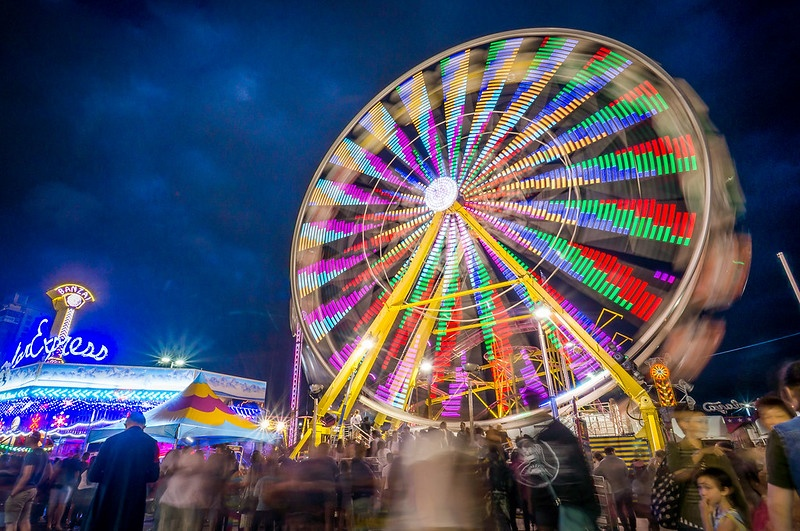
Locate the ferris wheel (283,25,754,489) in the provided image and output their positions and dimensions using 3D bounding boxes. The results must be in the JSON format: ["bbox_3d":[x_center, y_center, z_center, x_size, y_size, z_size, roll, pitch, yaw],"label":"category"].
[{"bbox_3d":[4.859,-0.151,21.721,18.940,18.692,6.973,0,-11,32],"label":"ferris wheel"}]
